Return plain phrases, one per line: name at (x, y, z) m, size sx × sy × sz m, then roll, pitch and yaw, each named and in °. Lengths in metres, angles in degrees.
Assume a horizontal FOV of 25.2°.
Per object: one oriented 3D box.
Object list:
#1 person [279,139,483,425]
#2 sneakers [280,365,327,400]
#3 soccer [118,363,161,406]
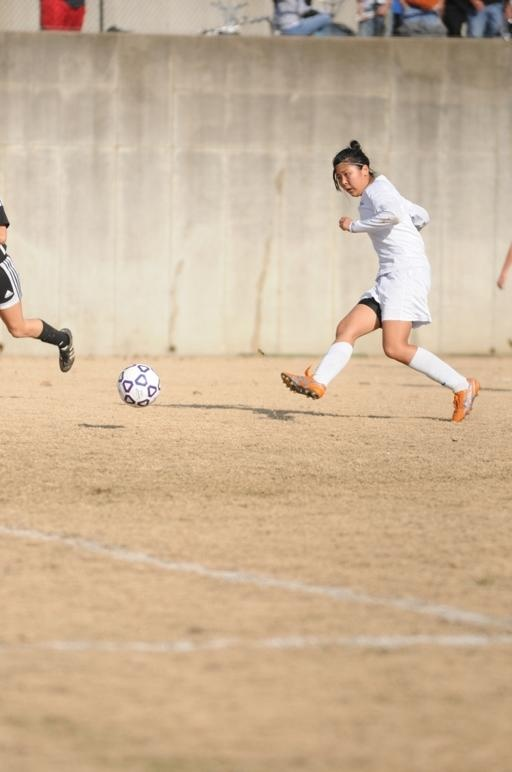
person at (0.576, -0.430, 5.030) m, size 0.828 × 1.264 × 0.650 m, roll 4°, pitch 10°, yaw 9°
sneakers at (0.205, -0.016, 4.980) m, size 0.183 × 0.137 × 0.276 m, roll 3°, pitch 10°, yaw 2°
soccer at (-0.599, -0.008, 5.814) m, size 0.219 × 0.201 × 0.232 m, roll 2°, pitch 43°, yaw -14°
